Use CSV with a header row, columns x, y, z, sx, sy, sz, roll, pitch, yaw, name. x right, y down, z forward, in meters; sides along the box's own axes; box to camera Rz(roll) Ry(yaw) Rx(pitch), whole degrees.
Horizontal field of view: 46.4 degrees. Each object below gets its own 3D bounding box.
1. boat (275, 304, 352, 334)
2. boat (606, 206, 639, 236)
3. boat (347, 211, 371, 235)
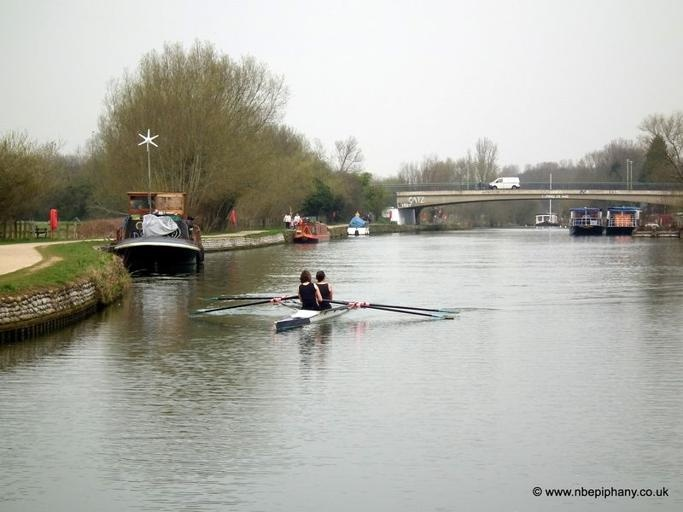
x,y,z,sx,sy,sz,roll,pitch,yaw,name
-0.818,1.596,21.607,0.658,0.347,3.277,5,10,24,boat
38.047,-4.896,108.298,3.803,3.569,8.632,1,6,18,boat
2.244,-4.582,110.890,2.339,2.992,4.261,1,5,8,boat
